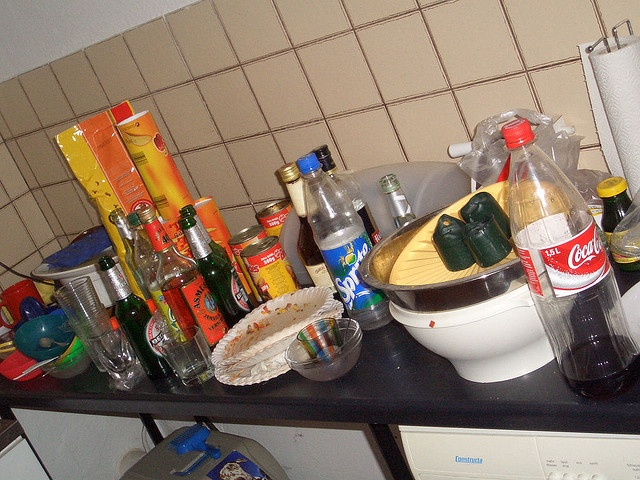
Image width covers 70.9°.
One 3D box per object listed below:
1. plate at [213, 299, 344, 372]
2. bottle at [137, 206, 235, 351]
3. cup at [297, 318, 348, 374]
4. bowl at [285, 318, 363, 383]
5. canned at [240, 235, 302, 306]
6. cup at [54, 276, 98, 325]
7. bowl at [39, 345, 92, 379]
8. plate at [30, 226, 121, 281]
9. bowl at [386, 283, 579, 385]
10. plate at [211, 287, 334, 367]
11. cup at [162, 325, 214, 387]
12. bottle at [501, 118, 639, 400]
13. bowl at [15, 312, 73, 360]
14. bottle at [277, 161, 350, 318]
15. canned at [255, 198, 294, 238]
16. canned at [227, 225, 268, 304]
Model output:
[{"bbox_3d":[-0.085,0.182,0.877,0.165,0.037,0.175,-31,13,4],"label":"plate"},{"bbox_3d":[-0.281,0.085,0.941,0.101,0.359,0.096,2,37,-2],"label":"bottle"},{"bbox_3d":[0.006,0.182,0.802,0.073,0.078,0.068,-33,9,6],"label":"cup"},{"bbox_3d":[0.003,0.164,0.785,0.108,0.064,0.113,-20,7,3],"label":"bowl"},{"bbox_3d":[-0.108,0.061,0.974,0.080,0.143,0.087,3,41,24],"label":"canned"},{"bbox_3d":[-0.548,0.141,1.017,0.070,0.081,0.071,-25,22,11],"label":"cup"},{"bbox_3d":[-0.611,0.281,1.091,0.092,0.041,0.090,-17,20,6],"label":"bowl"},{"bbox_3d":[-0.681,0.015,1.306,0.179,0.060,0.220,-27,1,-3],"label":"plate"},{"bbox_3d":[0.222,0.128,0.598,0.162,0.105,0.163,-27,8,4],"label":"bowl"},{"bbox_3d":[-0.056,0.161,0.836,0.208,0.032,0.209,-34,15,-32],"label":"plate"},{"bbox_3d":[-0.280,0.256,0.940,0.124,0.137,0.126,-2,-15,-1],"label":"cup"},{"bbox_3d":[0.328,0.018,0.597,0.118,0.306,0.209,-12,20,23],"label":"bottle"},{"bbox_3d":[-0.655,0.236,1.099,0.114,0.054,0.118,-6,44,5],"label":"bowl"},{"bbox_3d":[0.005,-0.016,0.926,0.132,0.332,0.136,-15,38,12],"label":"bottle"},{"bbox_3d":[-0.102,-0.037,1.086,0.070,0.081,0.070,-18,25,-11],"label":"canned"},{"bbox_3d":[-0.171,0.087,1.039,0.078,0.207,0.081,7,20,20],"label":"canned"}]
